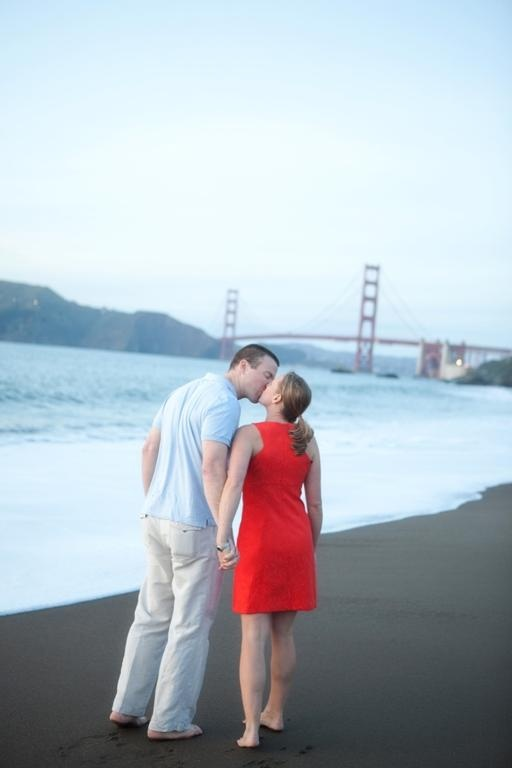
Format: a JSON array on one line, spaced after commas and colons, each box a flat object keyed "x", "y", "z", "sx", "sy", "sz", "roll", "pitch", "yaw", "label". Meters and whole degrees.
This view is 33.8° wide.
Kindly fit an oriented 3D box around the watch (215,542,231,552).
[{"x": -0.111, "y": 0.532, "z": 2.759, "sx": 0.038, "sy": 0.027, "sz": 0.040, "roll": 6, "pitch": 7, "yaw": 6, "label": "watch"}]

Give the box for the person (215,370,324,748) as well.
[{"x": 0.058, "y": 0.576, "z": 2.878, "sx": 0.421, "sy": 1.223, "sz": 0.258, "roll": 0, "pitch": 2, "yaw": -16, "label": "person"}]
